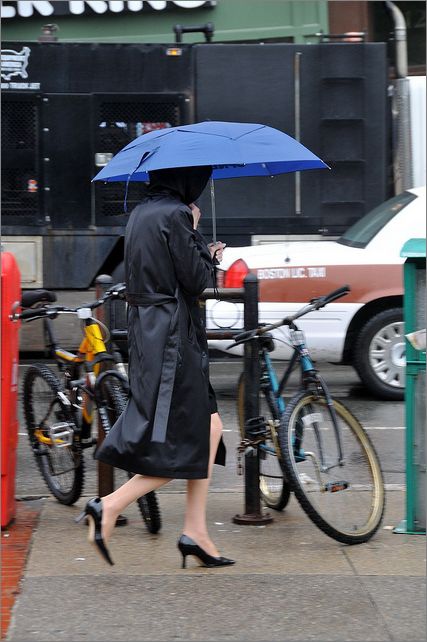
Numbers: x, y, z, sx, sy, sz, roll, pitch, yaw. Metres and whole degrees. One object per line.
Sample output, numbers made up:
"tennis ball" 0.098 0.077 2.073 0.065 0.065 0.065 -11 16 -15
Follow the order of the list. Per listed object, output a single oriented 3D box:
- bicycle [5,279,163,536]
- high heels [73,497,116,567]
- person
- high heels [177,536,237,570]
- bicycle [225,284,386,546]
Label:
"bicycle" -0.731 0.429 4.548 0.658 0.853 1.337 -1 5 -29
"high heels" -0.459 0.809 3.453 0.111 0.284 0.095 -26 7 -13
"person" -0.215 0.195 3.537 0.464 1.654 0.539 0 3 24
"high heels" -0.049 0.964 3.655 0.303 0.162 0.096 5 -8 -17
"bicycle" 0.421 0.418 4.153 0.721 1.157 0.887 -2 3 -16
